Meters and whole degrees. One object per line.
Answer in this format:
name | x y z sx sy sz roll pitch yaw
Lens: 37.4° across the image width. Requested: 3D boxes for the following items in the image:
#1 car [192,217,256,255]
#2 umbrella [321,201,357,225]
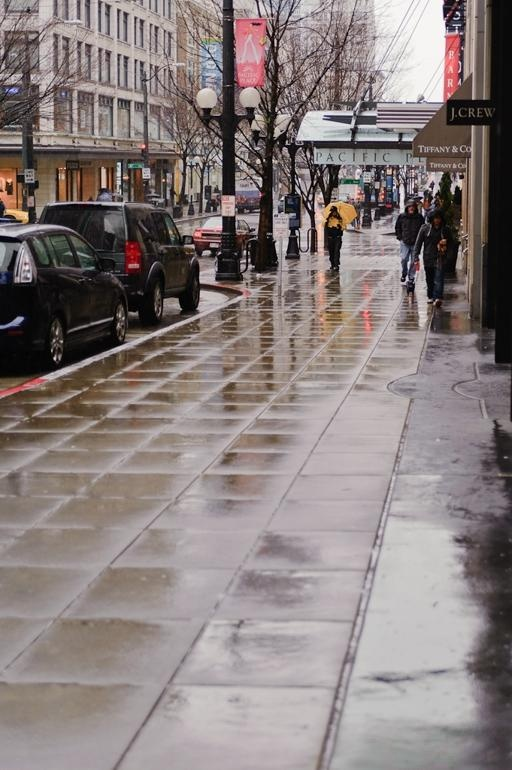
car | -1.781 -6.731 36.722 1.981 1.820 4.717 2 14 11
umbrella | 2.994 -6.317 27.461 1.149 1.342 0.596 5 9 -26
